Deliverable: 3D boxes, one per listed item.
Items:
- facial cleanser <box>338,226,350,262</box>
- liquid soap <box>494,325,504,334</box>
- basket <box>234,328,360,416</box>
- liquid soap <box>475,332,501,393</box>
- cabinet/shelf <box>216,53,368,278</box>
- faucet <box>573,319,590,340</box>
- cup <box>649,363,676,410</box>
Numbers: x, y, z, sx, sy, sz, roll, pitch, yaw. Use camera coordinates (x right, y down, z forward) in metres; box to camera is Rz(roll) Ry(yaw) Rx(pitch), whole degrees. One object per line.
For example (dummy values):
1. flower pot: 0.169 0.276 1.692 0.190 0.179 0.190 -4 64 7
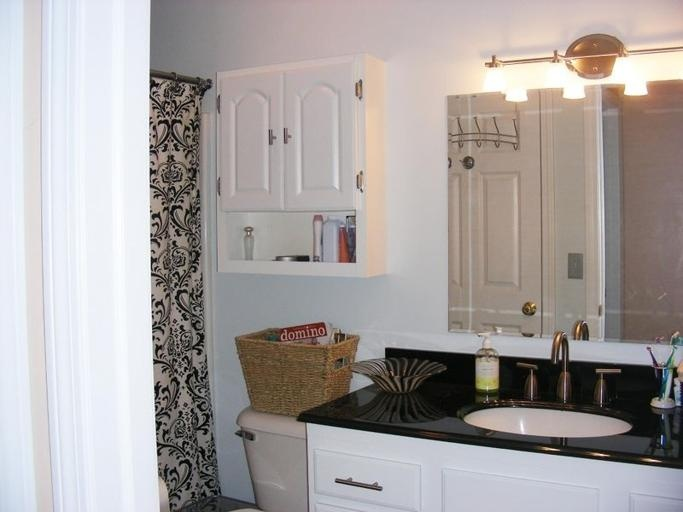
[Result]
1. facial cleanser: 0.013 -0.048 2.300 0.037 0.139 0.022 -2 2 -35
2. liquid soap: 0.587 0.274 2.193 0.021 0.041 0.042 -2 1 20
3. basket: -0.177 0.430 2.323 0.387 0.273 0.301 -1 -3 24
4. liquid soap: 0.511 0.376 2.091 0.089 0.216 0.074 0 2 29
5. cabinet/shelf: -0.195 -0.346 2.444 0.731 0.840 0.271 0 2 26
6. faucet: 0.855 0.259 2.086 0.071 0.105 0.032 1 -1 -37
7. cup: 1.042 0.412 1.876 0.108 0.137 0.063 -2 2 -18
